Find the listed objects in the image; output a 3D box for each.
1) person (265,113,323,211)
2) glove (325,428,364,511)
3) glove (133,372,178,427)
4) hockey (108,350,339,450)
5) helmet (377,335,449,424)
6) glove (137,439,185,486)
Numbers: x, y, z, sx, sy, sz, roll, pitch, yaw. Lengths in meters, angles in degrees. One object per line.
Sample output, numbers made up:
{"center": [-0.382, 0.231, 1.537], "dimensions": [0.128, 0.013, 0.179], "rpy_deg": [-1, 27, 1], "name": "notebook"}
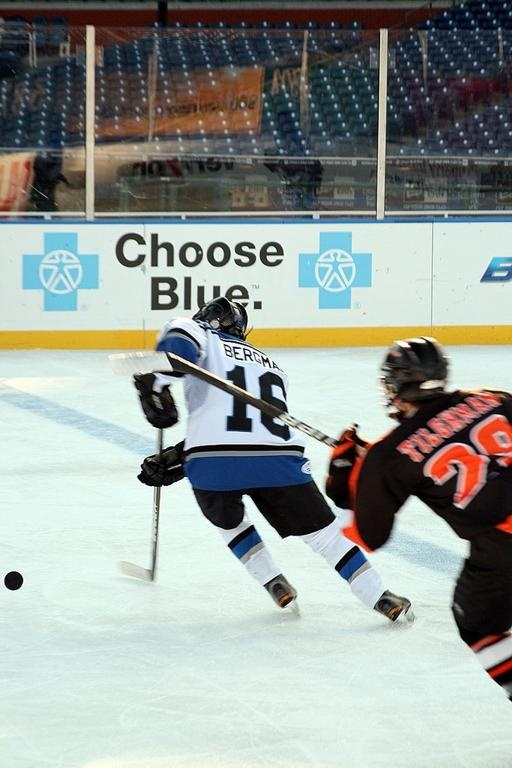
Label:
{"center": [0.422, -2.223, 8.017], "dimensions": [0.243, 0.895, 0.667], "rpy_deg": [-6, 20, 1], "name": "person"}
{"center": [0.192, 0.181, 1.744], "dimensions": [0.053, 0.146, 0.142], "rpy_deg": [28, 34, -21], "name": "glove"}
{"center": [-0.287, 0.027, 2.275], "dimensions": [0.098, 0.173, 0.042], "rpy_deg": [-14, 15, 4], "name": "glove"}
{"center": [-0.065, 0.022, 2.065], "dimensions": [0.592, 0.206, 0.222], "rpy_deg": [3, 6, 17], "name": "hockey"}
{"center": [0.294, -0.018, 1.498], "dimensions": [0.136, 0.158, 0.169], "rpy_deg": [-2, 1, -39], "name": "helmet"}
{"center": [-0.285, 0.243, 2.454], "dimensions": [0.130, 0.055, 0.170], "rpy_deg": [-13, 8, -38], "name": "glove"}
